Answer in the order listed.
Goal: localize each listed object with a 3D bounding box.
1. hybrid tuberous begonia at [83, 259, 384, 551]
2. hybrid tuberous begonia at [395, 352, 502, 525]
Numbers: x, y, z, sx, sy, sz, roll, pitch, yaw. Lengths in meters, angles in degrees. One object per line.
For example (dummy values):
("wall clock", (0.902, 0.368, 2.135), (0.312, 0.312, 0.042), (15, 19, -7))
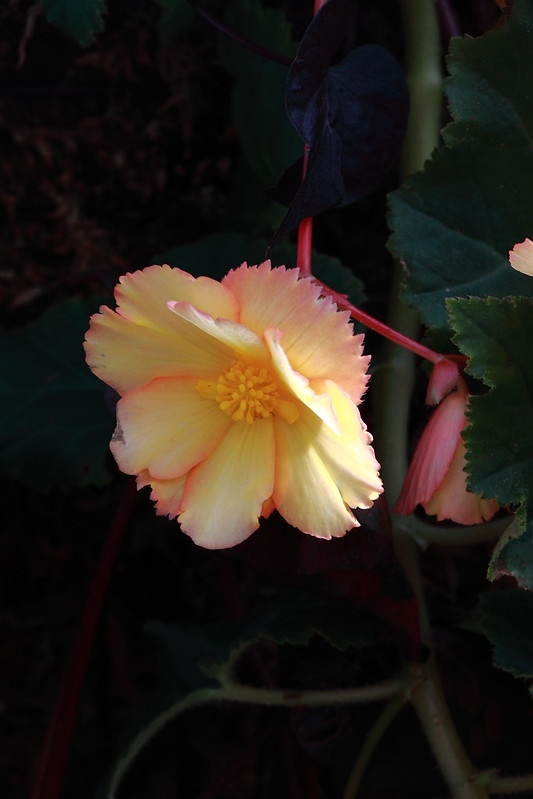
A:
("hybrid tuberous begonia", (-0.015, 0.003, 0.546), (0.212, 0.199, 0.247), (-2, 39, -3))
("hybrid tuberous begonia", (0.130, 0.029, 0.509), (0.069, 0.112, 0.054), (-2, -10, 32))
